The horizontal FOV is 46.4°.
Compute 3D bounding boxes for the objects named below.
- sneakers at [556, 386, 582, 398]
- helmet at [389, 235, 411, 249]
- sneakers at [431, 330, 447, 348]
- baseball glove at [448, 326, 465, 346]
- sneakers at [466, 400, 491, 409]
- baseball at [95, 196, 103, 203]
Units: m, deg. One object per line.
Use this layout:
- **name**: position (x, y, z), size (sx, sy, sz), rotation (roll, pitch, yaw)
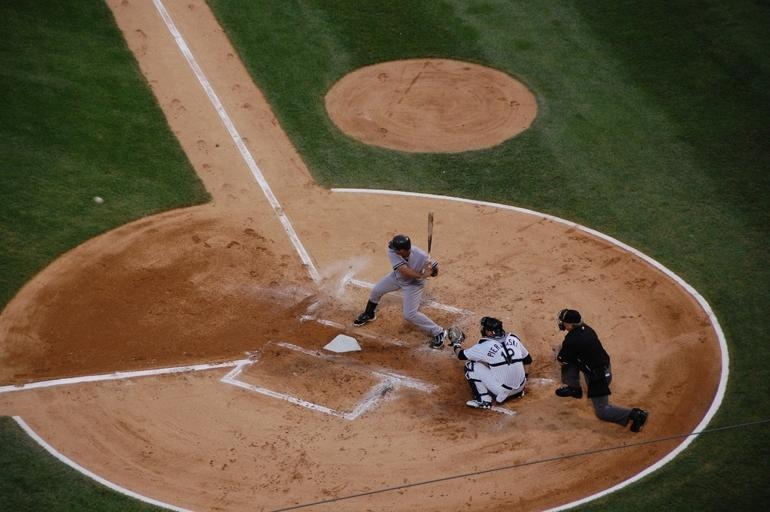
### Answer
- **sneakers**: position (3.987, 2.953, 19.448), size (0.701, 0.209, 0.194), rotation (4, 34, 9)
- **helmet**: position (0.349, -0.300, 19.825), size (0.478, 0.334, 0.323), rotation (6, -12, 3)
- **sneakers**: position (1.186, 1.906, 20.436), size (0.265, 0.251, 0.475), rotation (-1, 47, 37)
- **baseball glove**: position (1.593, 1.748, 20.126), size (0.401, 0.177, 0.490), rotation (3, 21, -12)
- **sneakers**: position (2.031, 3.214, 19.408), size (0.652, 0.169, 0.161), rotation (5, 32, 8)
- **baseball**: position (-7.318, -1.456, 23.070), size (0.219, 0.206, 0.071), rotation (-7, -14, -1)
